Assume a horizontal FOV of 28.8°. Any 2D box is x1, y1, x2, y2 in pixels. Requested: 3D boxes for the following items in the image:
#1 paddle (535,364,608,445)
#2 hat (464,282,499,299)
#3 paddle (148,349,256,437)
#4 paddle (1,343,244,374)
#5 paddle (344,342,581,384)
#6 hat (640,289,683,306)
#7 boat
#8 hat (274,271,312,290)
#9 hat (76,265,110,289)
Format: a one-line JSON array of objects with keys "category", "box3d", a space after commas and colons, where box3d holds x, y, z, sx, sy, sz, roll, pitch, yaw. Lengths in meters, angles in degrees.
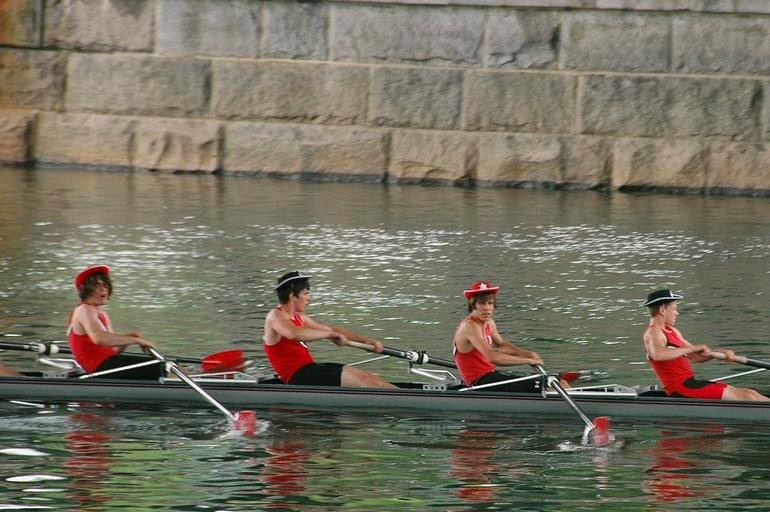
[{"category": "paddle", "box3d": [1.880, 1.532, 14.823, 0.311, 0.214, 1.055, -28, 41, -35]}, {"category": "hat", "box3d": [0.972, 0.356, 15.228, 0.302, 0.169, 0.180, -1, -3, -1]}, {"category": "paddle", "box3d": [-1.888, 1.367, 15.033, 1.754, 0.308, 0.200, 21, 41, 25]}, {"category": "paddle", "box3d": [-2.840, 1.088, 15.722, 2.648, 0.165, 0.337, 2, 6, 2]}, {"category": "paddle", "box3d": [0.788, 1.147, 15.839, 2.702, 0.129, 0.266, 6, 30, 23]}, {"category": "hat", "box3d": [2.782, 0.430, 15.214, 0.389, 0.083, 0.293, -9, -2, 26]}, {"category": "boat", "box3d": [-0.163, 1.455, 15.137, 8.768, 0.339, 0.367, 2, 19, 2]}, {"category": "hat", "box3d": [-1.016, 0.238, 15.356, 0.371, 0.074, 0.262, -15, -4, 10]}, {"category": "hat", "box3d": [-3.047, 0.215, 15.491, 0.323, 0.237, 0.217, -1, -3, -5]}]
